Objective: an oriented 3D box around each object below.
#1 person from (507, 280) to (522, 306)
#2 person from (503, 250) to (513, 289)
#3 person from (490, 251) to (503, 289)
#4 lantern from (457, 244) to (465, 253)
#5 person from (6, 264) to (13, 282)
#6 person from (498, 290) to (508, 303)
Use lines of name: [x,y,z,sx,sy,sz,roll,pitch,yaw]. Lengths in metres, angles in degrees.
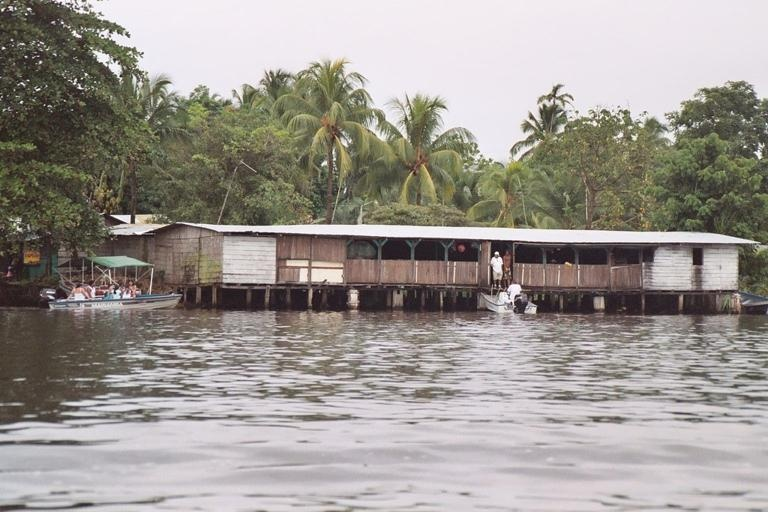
person: [5.859,1.676,52.710,0.777,0.786,0.528,-8,12,-39]
person: [5.923,0.590,55.112,0.435,1.662,1.062,0,10,6]
person: [5.356,0.606,54.784,0.619,1.846,1.298,0,10,6]
lantern: [3.792,-0.440,56.993,0.369,0.354,0.417,-5,8,6]
person: [-17.589,0.699,53.227,0.346,0.682,1.111,-4,10,-18]
person: [5.411,1.809,52.537,0.428,0.737,0.529,0,-4,-11]
